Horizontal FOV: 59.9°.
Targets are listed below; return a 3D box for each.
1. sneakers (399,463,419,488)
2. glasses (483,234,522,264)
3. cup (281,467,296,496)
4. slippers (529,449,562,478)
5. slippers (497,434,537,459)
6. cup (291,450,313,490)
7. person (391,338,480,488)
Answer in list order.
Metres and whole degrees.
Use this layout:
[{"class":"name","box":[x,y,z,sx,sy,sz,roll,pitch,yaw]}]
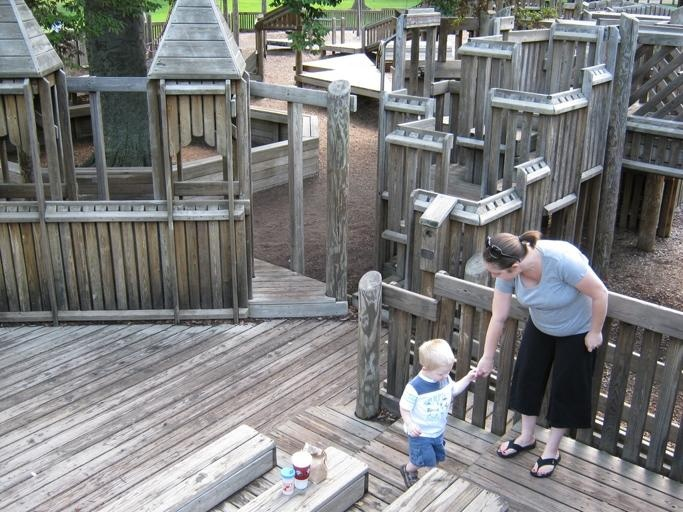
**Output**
[{"class":"sneakers","box":[0.457,1.522,4.092,0.082,0.203,0.076,-15,-2,15]},{"class":"glasses","box":[0.977,-0.029,3.624,0.187,0.069,0.162,9,19,-33]},{"class":"cup","box":[-0.343,1.441,3.773,0.108,0.178,0.111,1,22,0]},{"class":"slippers","box":[1.369,1.442,4.037,0.097,0.070,0.233,7,34,41]},{"class":"slippers","box":[1.246,1.360,4.227,0.275,0.077,0.112,-19,42,3]},{"class":"cup","box":[-0.247,1.371,3.848,0.195,0.263,0.200,1,9,0]},{"class":"person","box":[0.588,1.058,3.987,0.526,1.120,0.279,-18,25,-33]}]
